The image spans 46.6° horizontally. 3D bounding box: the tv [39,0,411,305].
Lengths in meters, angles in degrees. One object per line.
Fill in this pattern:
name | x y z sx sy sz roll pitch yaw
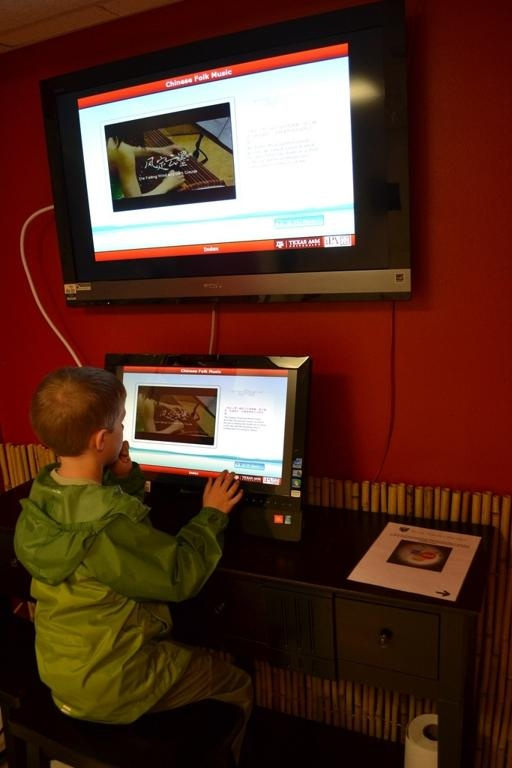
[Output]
tv | -0.127 -0.565 1.617 1.086 0.727 0.199 0 7 34
